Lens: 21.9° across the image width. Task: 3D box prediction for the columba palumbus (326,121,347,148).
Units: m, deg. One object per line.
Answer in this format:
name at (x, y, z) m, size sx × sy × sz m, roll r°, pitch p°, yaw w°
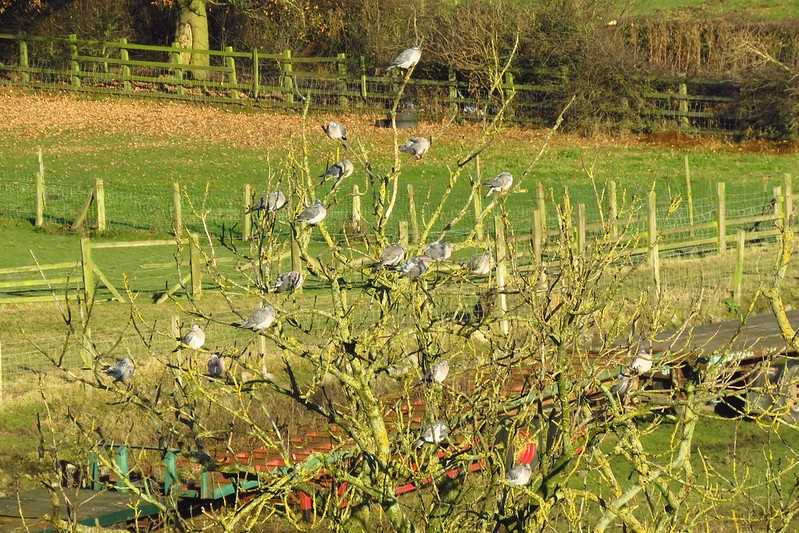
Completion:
columba palumbus at (-1.646, -3.616, 55.357) m, size 0.437 × 0.592 × 0.728 m, roll 2°, pitch 52°, yaw 23°
